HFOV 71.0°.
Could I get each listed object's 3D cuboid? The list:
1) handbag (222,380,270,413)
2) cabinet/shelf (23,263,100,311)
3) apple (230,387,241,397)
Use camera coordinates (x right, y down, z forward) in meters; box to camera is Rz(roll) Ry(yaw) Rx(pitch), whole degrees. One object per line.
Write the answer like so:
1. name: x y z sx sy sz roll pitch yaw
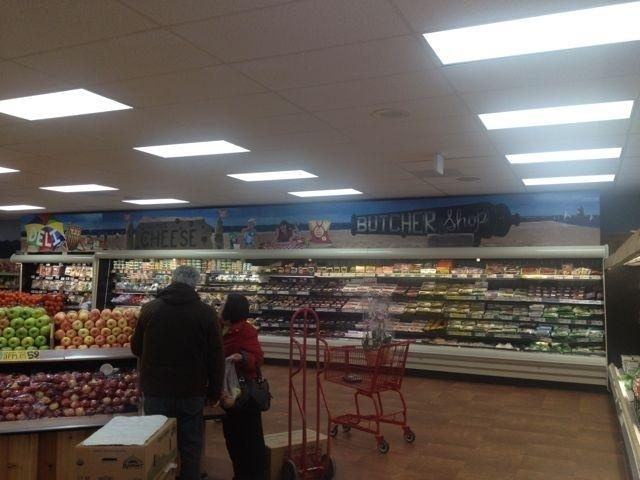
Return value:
1. handbag: -0.647 1.350 3.894 0.386 0.379 0.174 6 -40 -17
2. cabinet/shelf: -6.057 1.103 10.665 1.230 1.075 0.426 1 -6 7
3. apple: -0.726 1.307 3.853 0.065 0.072 0.079 16 0 -35
